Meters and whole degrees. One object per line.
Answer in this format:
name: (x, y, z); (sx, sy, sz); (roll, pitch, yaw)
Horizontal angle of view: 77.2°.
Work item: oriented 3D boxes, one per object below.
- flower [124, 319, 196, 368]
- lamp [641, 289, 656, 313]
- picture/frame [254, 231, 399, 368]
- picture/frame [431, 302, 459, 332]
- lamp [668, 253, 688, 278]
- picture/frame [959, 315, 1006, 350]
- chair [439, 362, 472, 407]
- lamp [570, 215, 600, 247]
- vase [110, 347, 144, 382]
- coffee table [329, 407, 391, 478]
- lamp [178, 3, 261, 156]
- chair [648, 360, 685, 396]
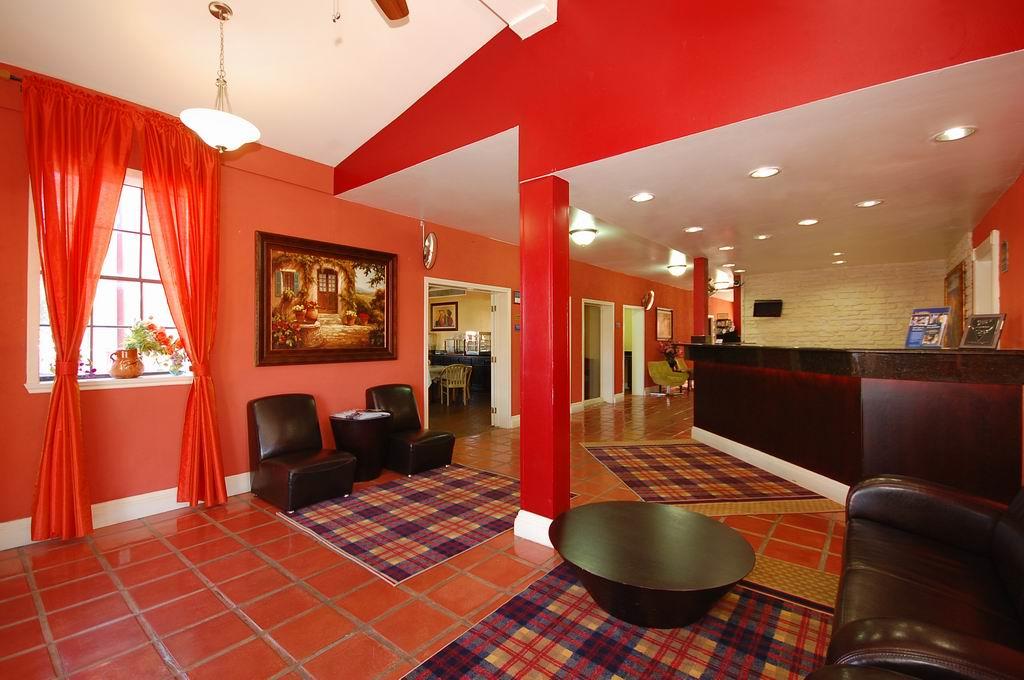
flower: (-3.287, 0.050, 5.897); (0.510, 0.454, 0.238); (-1, 2, -24)
lamp: (2.568, -0.754, 12.427); (0.102, 0.434, 0.319); (15, 18, 21)
picture/frame: (-2.072, -0.441, 6.834); (1.608, 1.271, 0.088); (-1, 4, -44)
picture/frame: (-1.535, -0.525, 14.417); (0.707, 0.595, 0.054); (-1, -2, 40)
lamp: (2.632, -1.209, 10.250); (0.322, 0.415, 0.312); (-4, 5, -32)
picture/frame: (3.987, -0.065, 5.405); (0.098, 0.406, 0.306); (25, -3, -22)
chair: (-1.067, 0.790, 11.434); (0.721, 0.879, 0.641); (0, 3, -16)
lamp: (0.831, -1.323, 7.567); (0.407, 0.459, 0.402); (-1, -4, 1)
vase: (-3.473, 0.207, 5.741); (0.282, 0.272, 0.219); (2, -1, -8)
coffee table: (-1.600, 1.107, 6.862); (0.670, 0.619, 0.623); (-1, -1, -22)
lamp: (-2.340, -2.017, 5.113); (0.512, 1.134, 1.057); (-2, 2, -22)
chair: (2.928, 0.679, 12.204); (0.691, 0.790, 0.882); (-2, 0, 37)
